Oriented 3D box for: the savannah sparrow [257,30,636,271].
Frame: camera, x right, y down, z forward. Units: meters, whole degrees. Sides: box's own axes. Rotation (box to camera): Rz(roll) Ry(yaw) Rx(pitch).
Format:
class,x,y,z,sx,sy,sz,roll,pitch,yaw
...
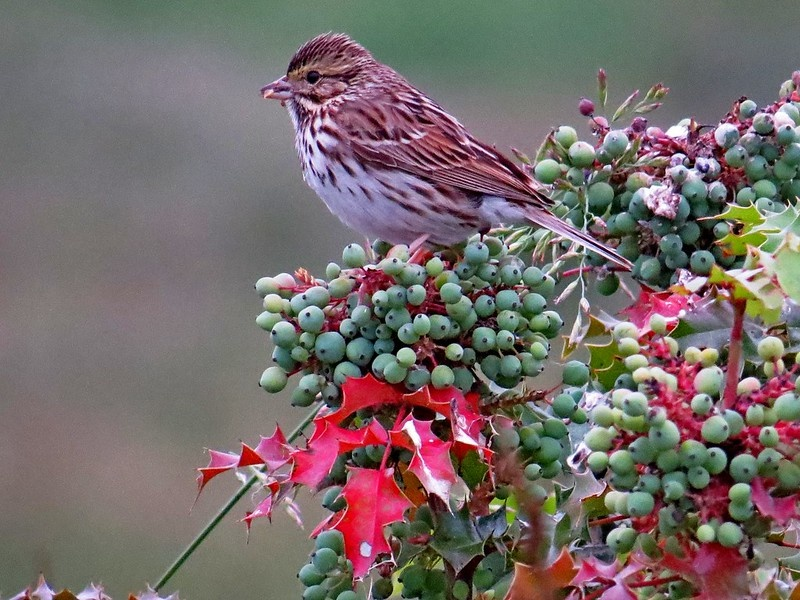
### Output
class,x,y,z,sx,sy,sz,roll,pitch,yaw
savannah sparrow,0.034,-0.586,5.473,1.308,1.055,1.037,-2,10,3
